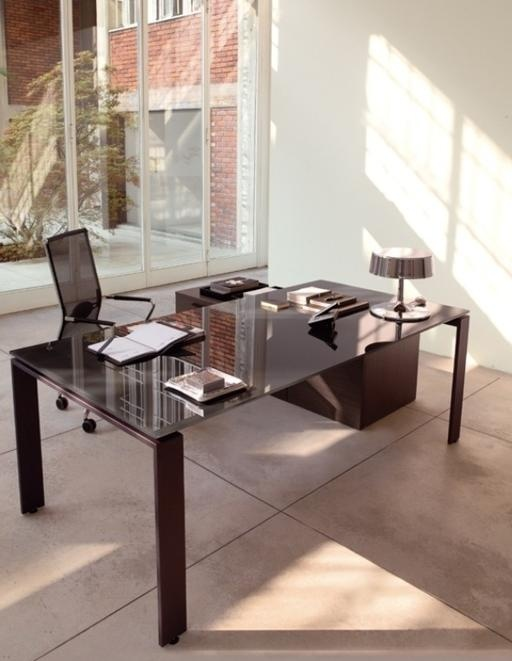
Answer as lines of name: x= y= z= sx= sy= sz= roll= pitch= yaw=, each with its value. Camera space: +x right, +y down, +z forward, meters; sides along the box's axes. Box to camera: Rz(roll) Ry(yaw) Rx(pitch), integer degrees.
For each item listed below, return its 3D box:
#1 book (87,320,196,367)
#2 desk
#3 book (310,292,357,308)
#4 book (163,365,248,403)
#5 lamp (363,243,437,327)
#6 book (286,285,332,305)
book: x=-0.473 y=0.050 z=2.419 sx=0.235 sy=0.064 sz=0.226 roll=-16 pitch=24 yaw=-42
desk: x=0.040 y=0.301 z=2.790 sx=1.165 sy=0.750 sz=2.259 roll=12 pitch=18 yaw=40
book: x=0.408 y=-0.158 z=3.142 sx=0.133 sy=0.029 sz=0.133 roll=-15 pitch=20 yaw=-41
book: x=-0.177 y=0.175 z=1.916 sx=0.142 sy=0.030 sz=0.141 roll=-16 pitch=24 yaw=-42
lamp: x=0.727 y=-0.228 z=2.949 sx=0.320 sy=0.291 sz=0.305 roll=-4 pitch=13 yaw=-16
book: x=0.302 y=-0.199 z=3.230 sx=0.150 sy=0.032 sz=0.149 roll=-16 pitch=22 yaw=-40
